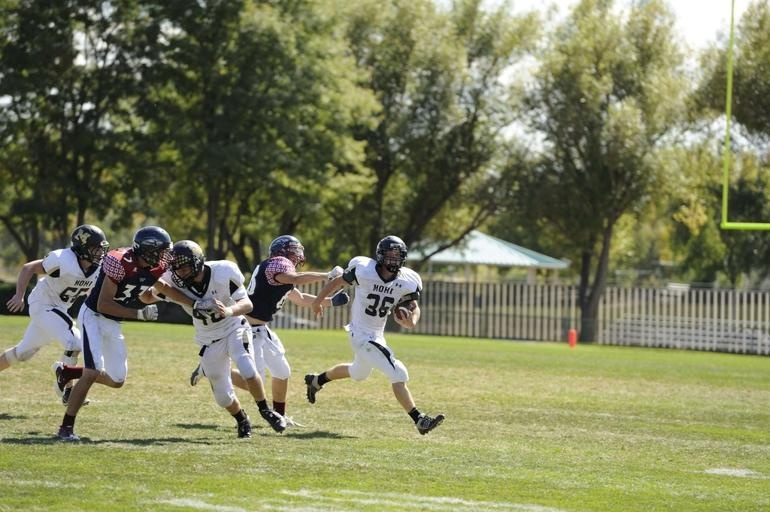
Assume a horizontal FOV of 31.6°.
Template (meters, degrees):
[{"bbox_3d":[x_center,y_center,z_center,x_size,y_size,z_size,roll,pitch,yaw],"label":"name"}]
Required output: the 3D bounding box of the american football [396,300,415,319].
[{"bbox_3d":[0.410,1.114,28.604,0.398,0.374,0.278,1,1,-1],"label":"american football"}]

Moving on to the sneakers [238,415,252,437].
[{"bbox_3d":[-2.917,3.570,28.209,0.186,0.545,0.236,-3,6,2],"label":"sneakers"}]

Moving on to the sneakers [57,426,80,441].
[{"bbox_3d":[-6.483,3.642,27.775,0.551,0.254,0.217,6,-2,37],"label":"sneakers"}]

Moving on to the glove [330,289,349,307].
[{"bbox_3d":[-0.979,0.881,29.039,0.335,0.363,1.098,1,1,-2],"label":"glove"}]

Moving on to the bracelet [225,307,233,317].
[{"bbox_3d":[-3.213,1.154,27.959,0.133,0.162,0.210,2,1,18],"label":"bracelet"}]

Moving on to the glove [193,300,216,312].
[{"bbox_3d":[-3.690,1.006,27.839,0.437,0.252,0.074,2,1,9],"label":"glove"}]
